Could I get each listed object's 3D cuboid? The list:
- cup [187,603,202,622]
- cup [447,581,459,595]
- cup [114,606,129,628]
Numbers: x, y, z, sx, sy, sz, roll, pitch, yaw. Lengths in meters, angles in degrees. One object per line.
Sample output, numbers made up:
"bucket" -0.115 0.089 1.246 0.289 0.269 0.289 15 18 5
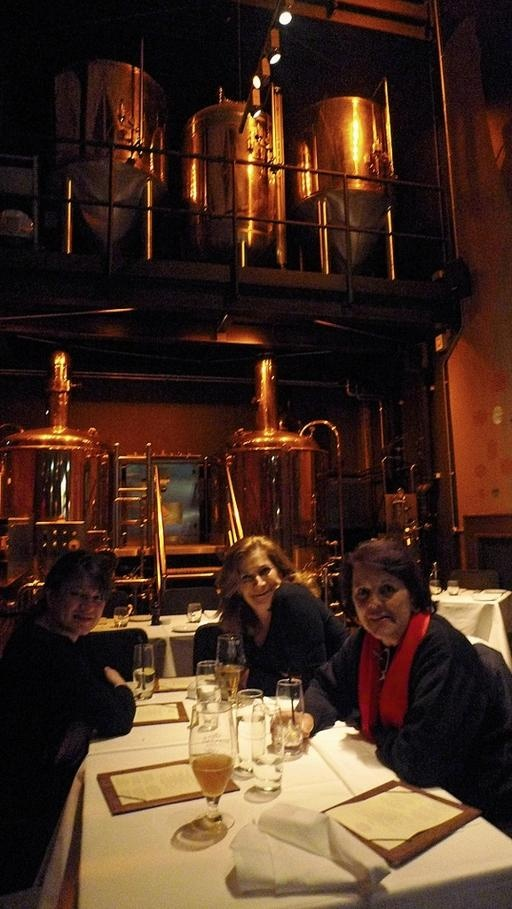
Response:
"cup" -0.352 0.923 4.019 0.089 0.107 0.098 -1 0 0
"cup" 1.436 0.967 4.985 0.070 0.080 0.070 2 -10 0
"cup" -0.732 0.907 3.833 0.099 0.148 0.140 3 -13 -14
